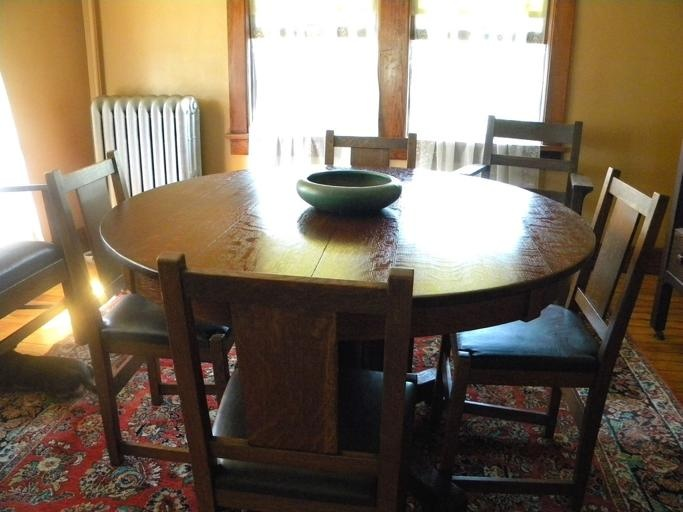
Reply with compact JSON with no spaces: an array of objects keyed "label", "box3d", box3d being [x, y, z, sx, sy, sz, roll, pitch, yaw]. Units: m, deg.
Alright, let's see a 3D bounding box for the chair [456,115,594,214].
[{"label":"chair","box3d":[1.041,-0.542,2.887,0.561,0.716,0.485,7,29,19]}]
